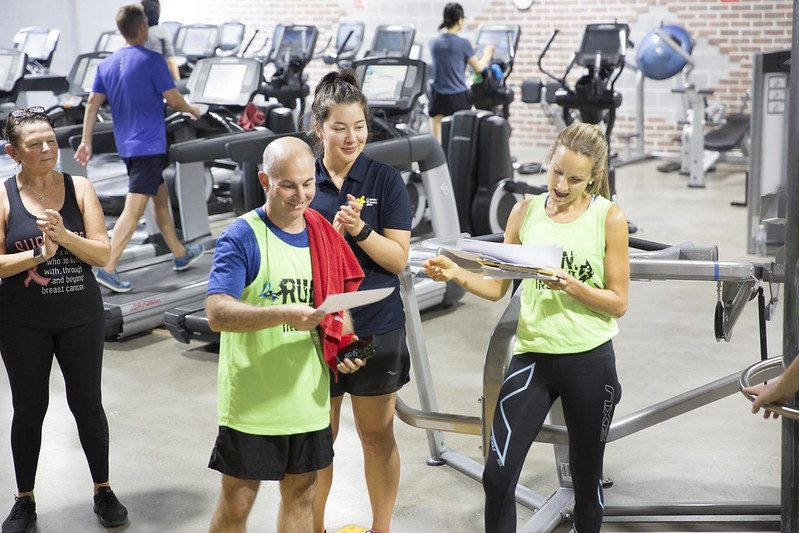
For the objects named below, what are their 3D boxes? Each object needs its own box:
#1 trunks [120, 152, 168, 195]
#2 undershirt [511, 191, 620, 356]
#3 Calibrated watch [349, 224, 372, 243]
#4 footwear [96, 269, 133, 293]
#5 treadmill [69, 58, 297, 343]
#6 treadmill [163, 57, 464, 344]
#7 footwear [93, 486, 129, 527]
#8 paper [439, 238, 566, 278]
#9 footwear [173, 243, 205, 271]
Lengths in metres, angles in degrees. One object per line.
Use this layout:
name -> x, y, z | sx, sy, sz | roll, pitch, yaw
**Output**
trunks -> -1.890, -0.714, 6.110 | 0.303, 0.356, 0.489 | -2, 14, -5
undershirt -> 0.662, 0.009, 3.264 | 0.506, 0.640, 0.337 | 1, 16, 4
Calibrated watch -> -0.154, -0.124, 3.211 | 0.051, 0.082, 0.078 | 44, -11, -6
footwear -> -2.025, 0.108, 5.702 | 0.217, 0.094, 0.083 | 23, 26, -33
treadmill -> -1.943, -0.618, 6.187 | 1.327, 1.918, 2.203 | 12, 18, 22
treadmill -> -0.433, -0.640, 5.784 | 1.158, 1.566, 1.802 | 19, 30, 35
footwear -> -1.385, 1.133, 3.859 | 0.117, 0.107, 0.240 | -14, 22, -35
paper -> 0.417, -0.031, 3.084 | 0.270, 0.095, 0.210 | 7, 0, 5
footwear -> -1.663, -0.070, 6.346 | 0.118, 0.125, 0.336 | 14, 34, 27
